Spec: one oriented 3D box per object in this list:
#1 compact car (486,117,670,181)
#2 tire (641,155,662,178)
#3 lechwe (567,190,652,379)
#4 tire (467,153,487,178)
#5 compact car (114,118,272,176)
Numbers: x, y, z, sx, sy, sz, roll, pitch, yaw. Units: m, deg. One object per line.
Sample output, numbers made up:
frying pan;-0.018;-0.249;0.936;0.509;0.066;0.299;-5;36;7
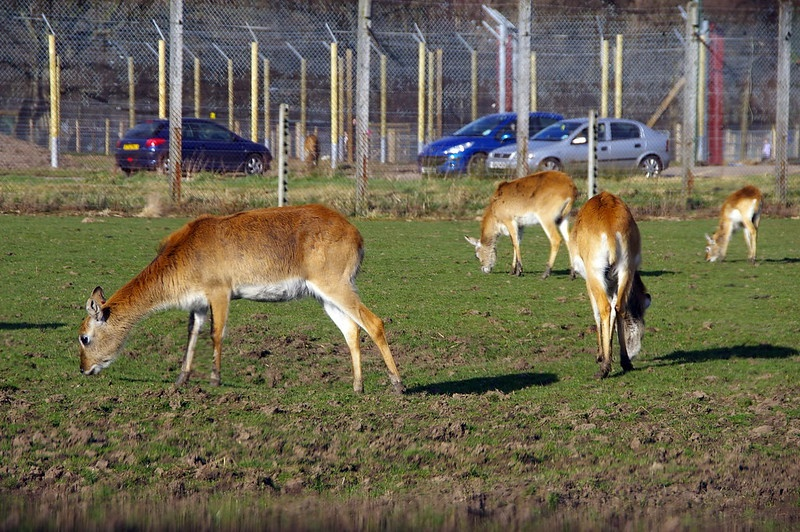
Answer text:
compact car;4.250;-2.738;27.405;4.959;1.373;1.201;-6;9;-33
tire;5.875;-2.361;28.090;0.510;0.628;0.178;2;-2;-28
lechwe;2.737;0.212;15.481;0.856;2.261;0.745;-4;7;-28
tire;1.719;-2.245;26.581;0.489;0.600;0.190;8;-7;30
compact car;-5.015;-2.720;27.363;3.396;1.322;4.812;0;8;3
